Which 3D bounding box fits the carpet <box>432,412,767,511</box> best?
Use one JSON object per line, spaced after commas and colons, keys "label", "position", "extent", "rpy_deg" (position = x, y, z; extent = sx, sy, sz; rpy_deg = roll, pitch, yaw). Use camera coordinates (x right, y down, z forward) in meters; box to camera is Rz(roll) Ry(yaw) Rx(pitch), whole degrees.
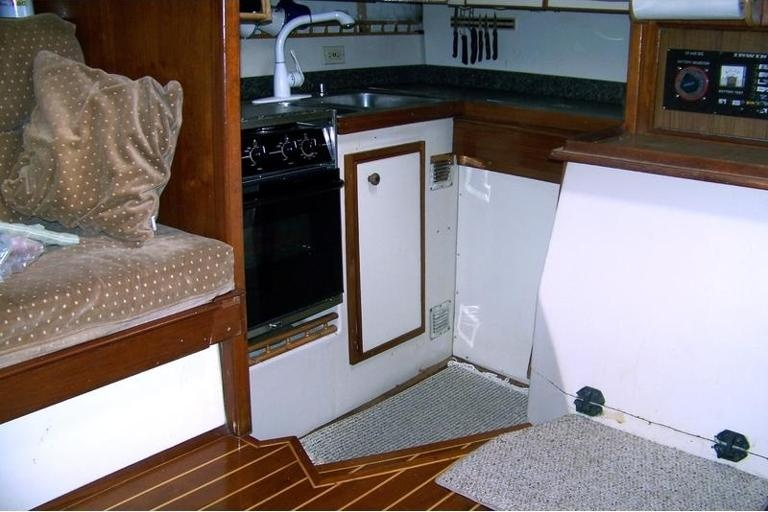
{"label": "carpet", "position": [0.616, 0.632, 1.545], "extent": [0.911, 0.055, 0.346], "rpy_deg": [4, 20, 10]}

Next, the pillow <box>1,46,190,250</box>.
{"label": "pillow", "position": [-0.865, -0.316, 1.697], "extent": [0.588, 0.561, 0.173], "rpy_deg": [12, 2, -5]}

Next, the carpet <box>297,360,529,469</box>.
{"label": "carpet", "position": [0.201, 0.762, 2.601], "extent": [0.706, 0.029, 0.395], "rpy_deg": [-15, 24, -30]}

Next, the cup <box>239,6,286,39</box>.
{"label": "cup", "position": [-0.582, -1.124, 2.621], "extent": [0.207, 0.135, 0.476], "rpy_deg": [-3, 20, -10]}

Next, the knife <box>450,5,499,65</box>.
{"label": "knife", "position": [0.550, -1.317, 3.237], "extent": [0.308, 0.374, 0.040], "rpy_deg": [20, 36, 38]}
